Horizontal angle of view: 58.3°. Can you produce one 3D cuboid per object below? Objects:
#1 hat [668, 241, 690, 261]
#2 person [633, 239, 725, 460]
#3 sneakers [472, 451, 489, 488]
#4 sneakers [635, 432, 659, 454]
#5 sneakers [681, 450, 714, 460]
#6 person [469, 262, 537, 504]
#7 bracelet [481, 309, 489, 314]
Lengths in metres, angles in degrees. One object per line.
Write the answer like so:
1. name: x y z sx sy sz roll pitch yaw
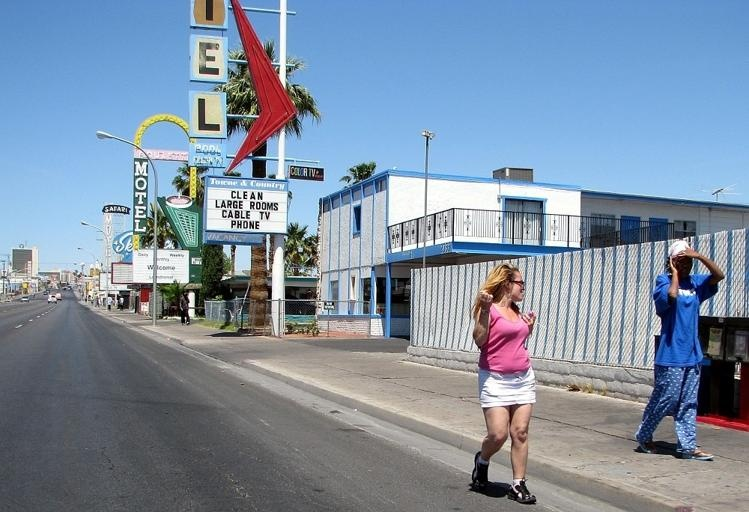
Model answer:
1. hat: 4.248 -0.112 9.418 0.245 0.264 0.246 -1 -2 22
2. person: 4.252 1.281 9.457 1.062 3.011 0.451 -1 -2 28
3. sneakers: 1.321 2.677 8.372 0.169 0.539 0.232 0 6 8
4. sneakers: 3.881 2.679 9.705 0.150 0.186 0.456 1 -4 -11
5. sneakers: 4.456 2.745 9.301 0.413 0.145 0.166 0 -4 4
6. person: 1.493 1.490 7.882 0.859 2.832 0.450 1 -2 -30
7. bracelet: 1.261 0.608 7.638 0.081 0.043 0.050 0 -2 2
